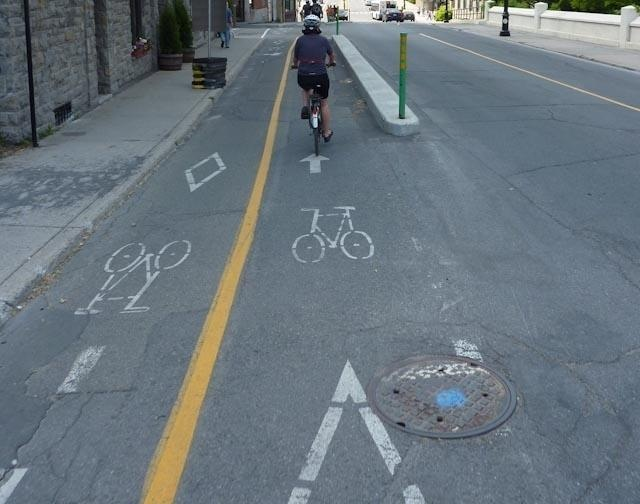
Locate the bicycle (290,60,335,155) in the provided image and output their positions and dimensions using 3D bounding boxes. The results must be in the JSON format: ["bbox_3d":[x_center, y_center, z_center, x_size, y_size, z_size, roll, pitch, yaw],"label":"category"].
[{"bbox_3d":[-0.219,-2.933,11.921,0.727,1.234,2.083,-3,35,2],"label":"bicycle"}]

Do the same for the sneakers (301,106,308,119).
[{"bbox_3d":[-0.289,-2.799,11.541,0.116,0.250,0.221,1,-3,1],"label":"sneakers"}]

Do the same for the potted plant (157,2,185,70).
[{"bbox_3d":[-5.683,-7.964,21.462,0.940,2.195,1.238,-9,29,-15],"label":"potted plant"}]

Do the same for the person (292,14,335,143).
[{"bbox_3d":[-0.120,-3.378,11.399,0.787,2.495,0.688,-1,27,0],"label":"person"}]
